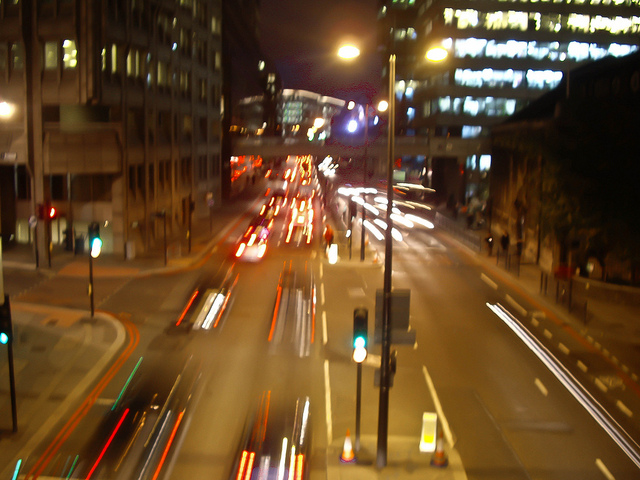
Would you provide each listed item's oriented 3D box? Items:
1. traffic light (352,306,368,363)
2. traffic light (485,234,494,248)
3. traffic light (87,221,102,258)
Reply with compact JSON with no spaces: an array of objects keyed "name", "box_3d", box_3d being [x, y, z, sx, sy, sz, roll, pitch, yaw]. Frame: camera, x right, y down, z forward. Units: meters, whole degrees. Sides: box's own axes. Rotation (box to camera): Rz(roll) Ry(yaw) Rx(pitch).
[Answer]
[{"name":"traffic light","box_3d":[1.159,2.788,16.587,0.394,1.548,0.714,1,10,4]},{"name":"traffic light","box_3d":[13.032,0.180,44.664,0.372,1.177,1.296,3,12,15]},{"name":"traffic light","box_3d":[-10.679,0.116,27.713,0.485,1.709,1.305,-4,12,-23]}]
